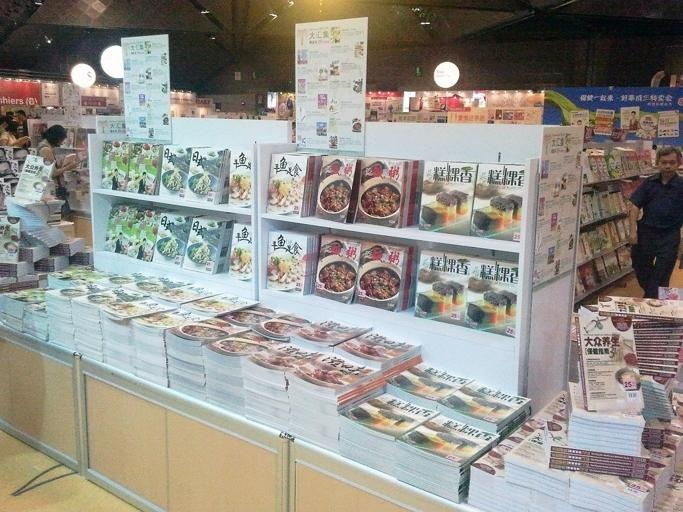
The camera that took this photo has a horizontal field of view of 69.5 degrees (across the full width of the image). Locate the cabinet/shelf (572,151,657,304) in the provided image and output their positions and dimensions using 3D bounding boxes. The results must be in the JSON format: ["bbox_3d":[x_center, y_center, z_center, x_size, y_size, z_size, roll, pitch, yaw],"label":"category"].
[{"bbox_3d":[3.633,-0.359,6.617,2.717,1.134,0.527,-12,18,-40],"label":"cabinet/shelf"}]

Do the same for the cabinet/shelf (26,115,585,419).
[{"bbox_3d":[-0.217,0.088,2.972,2.475,1.149,0.791,6,11,32],"label":"cabinet/shelf"}]
